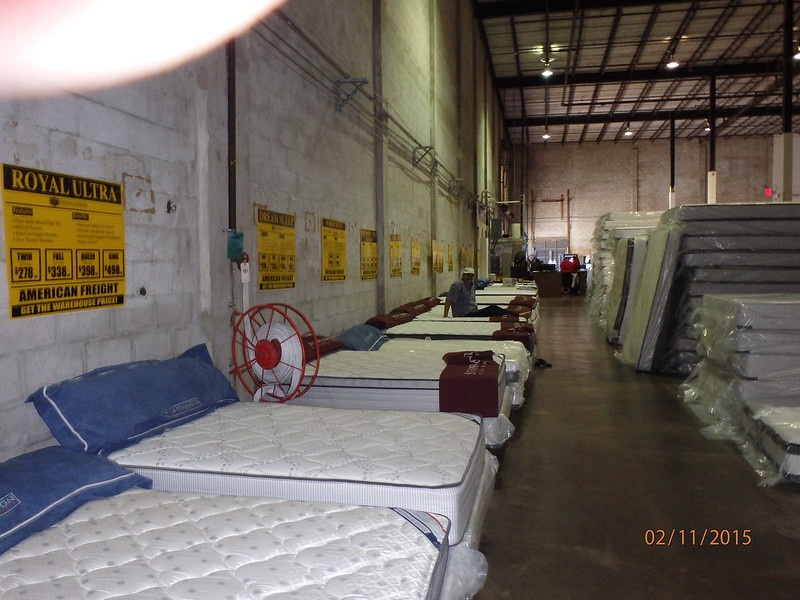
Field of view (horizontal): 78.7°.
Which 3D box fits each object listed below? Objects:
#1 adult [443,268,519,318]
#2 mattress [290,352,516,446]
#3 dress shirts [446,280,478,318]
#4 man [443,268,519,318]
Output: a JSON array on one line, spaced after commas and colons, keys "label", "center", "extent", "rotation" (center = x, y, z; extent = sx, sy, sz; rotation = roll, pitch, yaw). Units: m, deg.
[{"label": "adult", "center": [1.371, -0.070, 8.042], "extent": [1.198, 0.852, 0.597], "rotation": [5, 6, 14]}, {"label": "mattress", "center": [0.026, 0.690, 3.889], "extent": [1.250, 0.330, 0.966], "rotation": [0, 0, 15]}, {"label": "dress shirts", "center": [1.066, -0.063, 8.163], "extent": [0.394, 0.615, 0.793], "rotation": [6, 9, 36]}, {"label": "man", "center": [1.363, -0.071, 8.012], "extent": [1.217, 0.861, 0.579], "rotation": [5, 7, 19]}]
